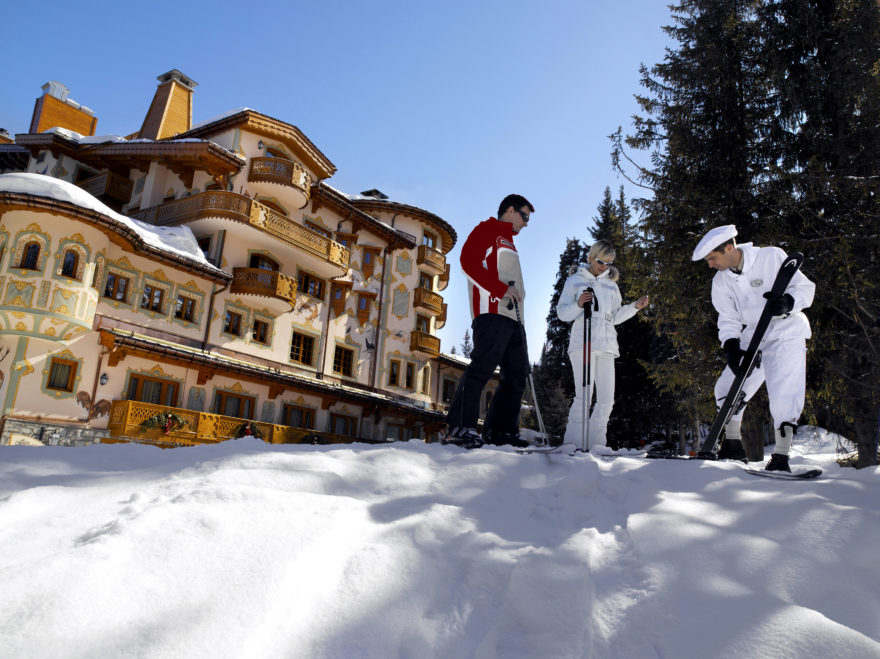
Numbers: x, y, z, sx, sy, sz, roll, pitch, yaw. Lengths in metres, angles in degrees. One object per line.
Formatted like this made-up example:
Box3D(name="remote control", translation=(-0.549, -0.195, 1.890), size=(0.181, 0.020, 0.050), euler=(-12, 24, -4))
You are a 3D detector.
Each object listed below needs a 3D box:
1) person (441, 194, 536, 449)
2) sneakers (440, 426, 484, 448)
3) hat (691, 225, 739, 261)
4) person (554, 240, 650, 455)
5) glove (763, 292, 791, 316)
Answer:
Box3D(name="person", translation=(0.669, -0.099, 6.623), size=(0.723, 3.283, 1.361), euler=(2, 1, 43))
Box3D(name="sneakers", translation=(0.247, 1.348, 6.268), size=(0.494, 0.242, 0.188), euler=(-15, -51, 35))
Box3D(name="hat", translation=(2.887, -0.930, 5.563), size=(0.513, 0.205, 0.406), euler=(-38, 4, 2))
Box3D(name="person", translation=(2.022, 0.233, 6.941), size=(0.844, 2.762, 1.081), euler=(2, 1, 41))
Box3D(name="glove", translation=(3.334, -0.231, 5.201), size=(0.240, 0.200, 0.169), euler=(2, 1, 32))
